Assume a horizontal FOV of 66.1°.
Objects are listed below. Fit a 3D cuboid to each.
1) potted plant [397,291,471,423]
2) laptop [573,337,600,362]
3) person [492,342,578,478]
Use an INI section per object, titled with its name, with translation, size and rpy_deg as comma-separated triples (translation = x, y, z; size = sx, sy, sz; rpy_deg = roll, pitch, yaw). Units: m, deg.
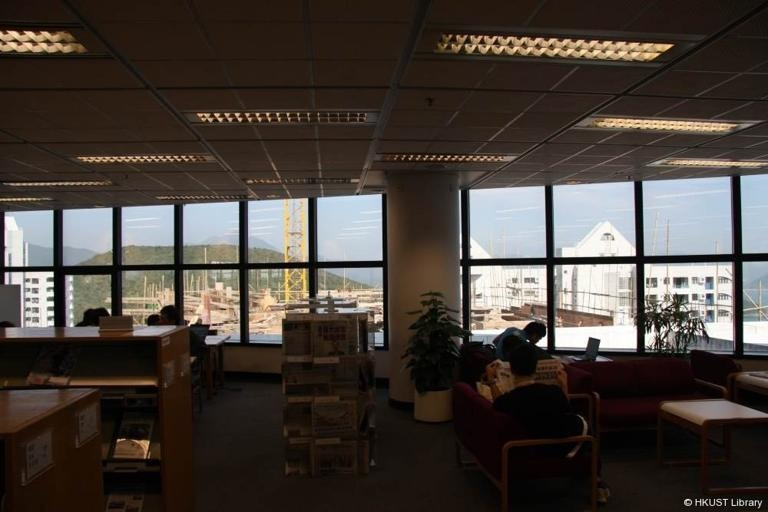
[potted plant]
translation = 0.711, 1.386, 8.335
size = 0.867, 1.794, 0.841
rpy_deg = -1, 9, 1
[laptop]
translation = 3.156, 1.445, 9.076
size = 0.357, 0.285, 0.398
rpy_deg = -5, -1, -6
[person]
translation = 1.574, 1.495, 5.948
size = 0.896, 1.090, 0.392
rpy_deg = 2, 9, 17
